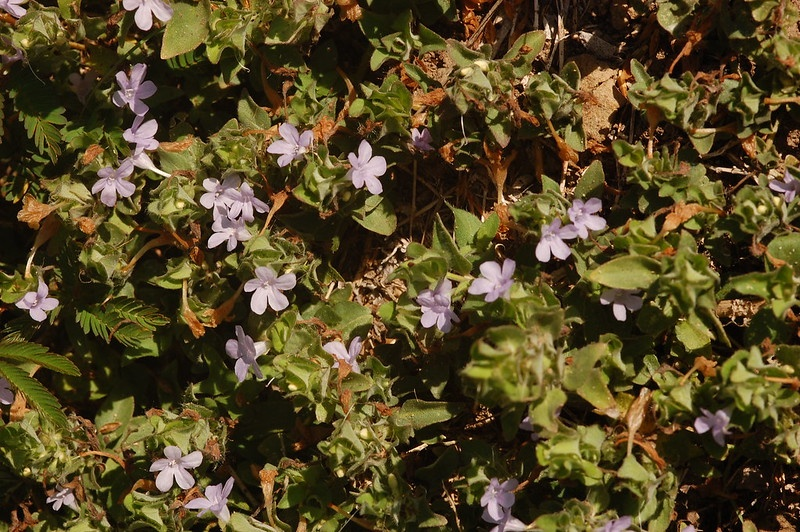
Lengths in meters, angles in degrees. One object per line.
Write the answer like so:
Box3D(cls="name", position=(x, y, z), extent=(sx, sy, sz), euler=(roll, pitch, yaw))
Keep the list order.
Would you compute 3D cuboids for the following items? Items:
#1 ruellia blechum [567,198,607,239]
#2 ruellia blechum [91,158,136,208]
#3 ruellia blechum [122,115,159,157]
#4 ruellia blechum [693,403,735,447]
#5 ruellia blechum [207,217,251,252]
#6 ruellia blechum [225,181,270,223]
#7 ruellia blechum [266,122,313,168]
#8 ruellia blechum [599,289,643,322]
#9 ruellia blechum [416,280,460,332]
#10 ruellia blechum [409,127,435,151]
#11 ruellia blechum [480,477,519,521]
Box3D(cls="ruellia blechum", position=(1.126, -0.299, 4.897), extent=(0.221, 0.187, 0.190), euler=(-3, 40, -11))
Box3D(cls="ruellia blechum", position=(-1.841, -0.535, 5.204), extent=(0.276, 0.270, 0.198), euler=(-9, 40, -18))
Box3D(cls="ruellia blechum", position=(-1.681, -0.818, 5.277), extent=(0.236, 0.259, 0.197), euler=(-1, 38, -8))
Box3D(cls="ruellia blechum", position=(1.834, 0.921, 4.722), extent=(0.195, 0.229, 0.100), euler=(11, 18, 36))
Box3D(cls="ruellia blechum", position=(-1.083, -0.211, 5.144), extent=(0.209, 0.121, 0.237), euler=(-1, 80, 12))
Box3D(cls="ruellia blechum", position=(-0.981, -0.382, 5.168), extent=(0.245, 0.307, 0.251), euler=(-11, 41, -19))
Box3D(cls="ruellia blechum", position=(-0.687, -0.762, 5.067), extent=(0.277, 0.209, 0.165), euler=(-8, 40, -17))
Box3D(cls="ruellia blechum", position=(1.355, 0.213, 4.926), extent=(0.279, 0.170, 0.149), euler=(0, 39, -8))
Box3D(cls="ruellia blechum", position=(0.231, 0.253, 4.970), extent=(0.237, 0.271, 0.216), euler=(-6, 40, -14))
Box3D(cls="ruellia blechum", position=(0.140, -0.817, 5.279), extent=(0.154, 0.162, 0.074), euler=(4, 37, -3))
Box3D(cls="ruellia blechum", position=(0.605, 1.447, 5.033), extent=(0.200, 0.322, 0.219), euler=(14, 39, 11))
